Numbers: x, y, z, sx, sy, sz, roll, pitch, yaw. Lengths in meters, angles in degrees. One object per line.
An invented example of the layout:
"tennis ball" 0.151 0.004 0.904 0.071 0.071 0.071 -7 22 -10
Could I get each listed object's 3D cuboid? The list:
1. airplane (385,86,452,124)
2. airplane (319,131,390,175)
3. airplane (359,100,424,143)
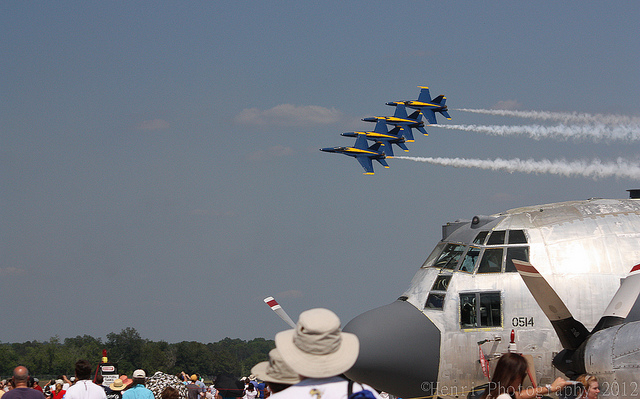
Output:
"airplane" 8.073 -7.971 76.758 5.037 1.198 4.573 7 -22 9
"airplane" 2.744 -4.046 74.067 6.063 1.318 5.136 7 11 28
"airplane" 6.784 -6.175 77.479 4.857 4.438 1.058 -1 -57 0
